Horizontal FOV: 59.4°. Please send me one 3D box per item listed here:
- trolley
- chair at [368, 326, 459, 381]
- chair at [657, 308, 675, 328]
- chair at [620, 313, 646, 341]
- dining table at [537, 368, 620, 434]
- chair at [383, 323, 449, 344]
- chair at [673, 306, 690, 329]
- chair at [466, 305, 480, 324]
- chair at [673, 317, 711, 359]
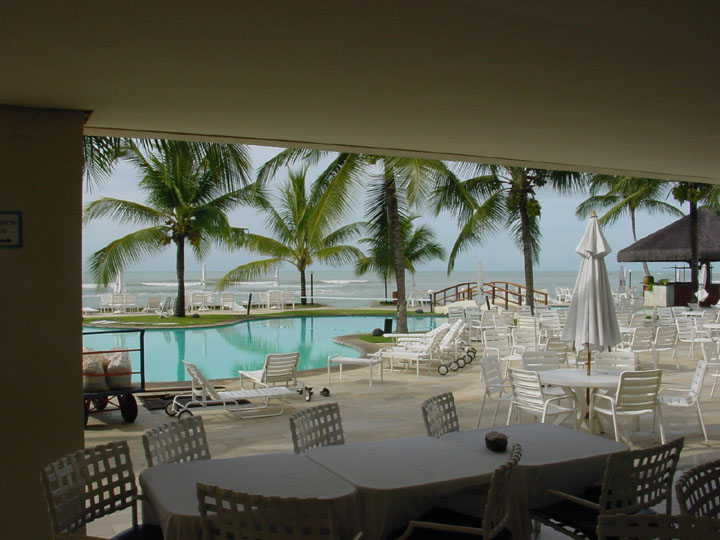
[{"bbox_3d":[-3.473,1.384,8.306,0.892,1.101,1.686,16,-13,-23],"label":"trolley"},{"bbox_3d":[0.966,1.504,11.707,1.267,0.892,0.793,0,-1,9],"label":"chair"},{"bbox_3d":[7.406,1.178,15.372,0.275,0.411,0.309,-1,-6,8],"label":"chair"},{"bbox_3d":[5.526,1.172,12.810,0.443,0.710,0.463,-1,7,-14],"label":"chair"},{"bbox_3d":[2.429,1.335,7.107,0.748,0.814,0.785,-1,0,-19],"label":"dining table"},{"bbox_3d":[1.119,1.250,11.913,0.842,0.320,0.650,3,0,25],"label":"chair"},{"bbox_3d":[7.987,1.198,15.756,0.191,0.373,0.248,-1,-5,1],"label":"chair"},{"bbox_3d":[2.821,1.140,15.762,0.412,0.593,0.555,-1,0,11],"label":"chair"},{"bbox_3d":[6.965,1.444,13.301,0.673,1.062,0.714,-1,1,-35],"label":"chair"}]
